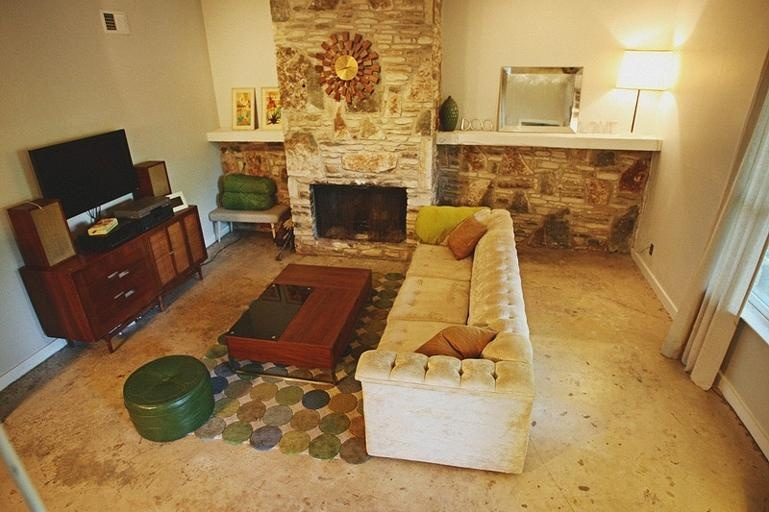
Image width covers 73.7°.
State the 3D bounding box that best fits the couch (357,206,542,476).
[{"bbox_3d":[0.736,0.595,5.365,1.493,1.150,3.236,2,28,7],"label":"couch"}]

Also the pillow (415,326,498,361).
[{"bbox_3d":[0.590,0.692,4.110,0.385,0.116,0.317,3,34,29],"label":"pillow"}]

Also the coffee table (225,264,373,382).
[{"bbox_3d":[-0.790,0.581,5.295,1.149,0.339,1.545,8,29,16],"label":"coffee table"}]

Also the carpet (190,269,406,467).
[{"bbox_3d":[-0.769,1.071,4.700,1.915,0.021,2.067,3,42,14],"label":"carpet"}]

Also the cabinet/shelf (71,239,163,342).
[{"bbox_3d":[-2.742,0.352,5.226,0.327,0.701,0.839,4,36,19],"label":"cabinet/shelf"}]

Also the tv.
[{"bbox_3d":[-3.117,-0.828,5.261,0.100,0.660,0.947,5,28,24],"label":"tv"}]

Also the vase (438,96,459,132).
[{"bbox_3d":[0.794,-1.771,6.433,0.239,0.419,0.178,7,24,13],"label":"vase"}]

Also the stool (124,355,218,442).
[{"bbox_3d":[-1.828,1.212,4.521,0.692,0.390,0.665,3,31,3],"label":"stool"}]

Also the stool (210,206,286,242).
[{"bbox_3d":[-1.879,-0.490,7.168,0.928,0.396,0.574,0,27,-5],"label":"stool"}]

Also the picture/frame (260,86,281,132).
[{"bbox_3d":[-1.515,-1.998,6.970,0.027,0.528,0.326,24,32,36],"label":"picture/frame"}]

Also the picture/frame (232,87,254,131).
[{"bbox_3d":[-1.908,-1.997,7.018,0.313,0.528,0.184,1,23,0],"label":"picture/frame"}]

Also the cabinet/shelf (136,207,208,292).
[{"bbox_3d":[-2.423,-0.067,5.815,0.308,0.674,0.771,4,36,8],"label":"cabinet/shelf"}]

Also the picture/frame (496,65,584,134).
[{"bbox_3d":[1.914,-1.927,6.385,1.014,0.800,0.063,10,30,27],"label":"picture/frame"}]

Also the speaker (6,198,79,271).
[{"bbox_3d":[-3.283,-0.187,4.905,0.416,0.744,0.402,-19,22,-3],"label":"speaker"}]
